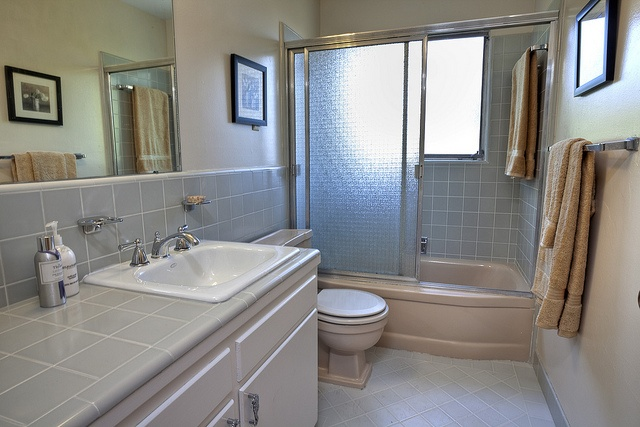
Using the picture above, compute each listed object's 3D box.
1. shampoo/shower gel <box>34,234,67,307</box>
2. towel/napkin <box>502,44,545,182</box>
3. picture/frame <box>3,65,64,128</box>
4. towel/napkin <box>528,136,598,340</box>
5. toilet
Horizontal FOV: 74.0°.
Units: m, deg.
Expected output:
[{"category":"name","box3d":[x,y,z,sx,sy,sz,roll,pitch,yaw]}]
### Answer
[{"category":"shampoo/shower gel","box3d":[-1.013,0.220,1.580,0.099,0.259,0.075,-12,17,-31]},{"category":"towel/napkin","box3d":[1.570,-0.751,3.238,0.199,0.944,0.413,3,15,23]},{"category":"picture/frame","box3d":[-1.110,-0.452,1.627,0.022,0.286,0.259,4,5,38]},{"category":"towel/napkin","box3d":[1.261,0.126,2.166,0.221,0.976,0.394,6,16,31]},{"category":"toilet","box3d":[0.056,0.662,2.866,0.847,0.896,0.544,3,12,24]}]
